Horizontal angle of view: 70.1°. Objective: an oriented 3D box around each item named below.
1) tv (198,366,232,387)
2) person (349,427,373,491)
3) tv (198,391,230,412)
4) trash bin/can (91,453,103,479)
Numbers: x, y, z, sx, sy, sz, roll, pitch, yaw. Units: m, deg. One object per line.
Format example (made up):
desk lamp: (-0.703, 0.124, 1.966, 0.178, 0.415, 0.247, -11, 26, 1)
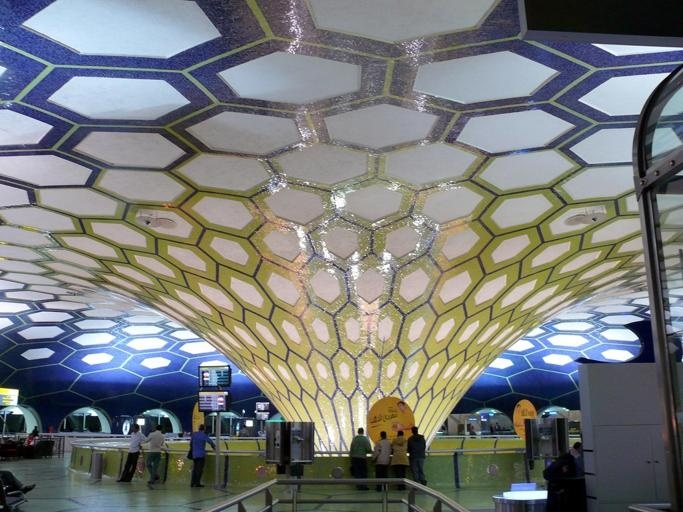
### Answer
tv: (-4.770, 4.499, 18.385, 1.475, 0.628, 0.625, 0, -2, 8)
person: (0.686, 6.868, 16.705, 0.738, 1.967, 0.764, 0, -21, 2)
tv: (-4.500, 5.119, 17.334, 1.396, 0.578, 0.154, -2, -11, 19)
trash bin/can: (-10.327, 8.795, 20.632, 0.536, 0.900, 1.100, 9, -19, -21)
